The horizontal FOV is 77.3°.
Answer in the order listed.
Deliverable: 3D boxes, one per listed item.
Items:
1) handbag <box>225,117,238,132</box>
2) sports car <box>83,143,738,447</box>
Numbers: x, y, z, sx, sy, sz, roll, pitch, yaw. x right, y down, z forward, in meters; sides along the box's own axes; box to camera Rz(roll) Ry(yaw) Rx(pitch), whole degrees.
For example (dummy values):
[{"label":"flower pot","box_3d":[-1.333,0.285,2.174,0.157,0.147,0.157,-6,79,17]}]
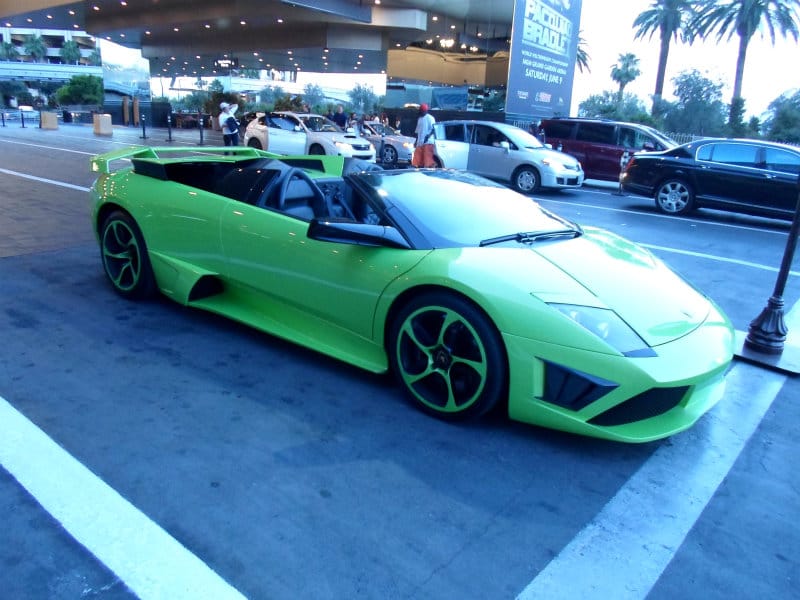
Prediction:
[{"label":"handbag","box_3d":[-5.411,-5.523,15.902,0.370,0.486,1.102,-2,18,-19]},{"label":"sports car","box_3d":[-0.398,-0.422,4.506,5.814,1.528,2.111,15,20,33]}]
